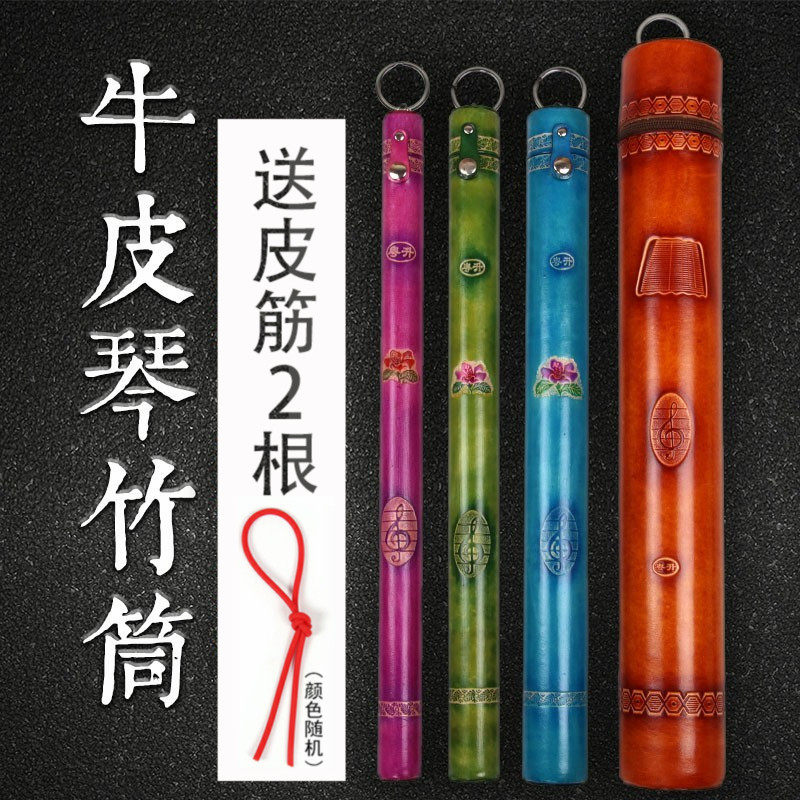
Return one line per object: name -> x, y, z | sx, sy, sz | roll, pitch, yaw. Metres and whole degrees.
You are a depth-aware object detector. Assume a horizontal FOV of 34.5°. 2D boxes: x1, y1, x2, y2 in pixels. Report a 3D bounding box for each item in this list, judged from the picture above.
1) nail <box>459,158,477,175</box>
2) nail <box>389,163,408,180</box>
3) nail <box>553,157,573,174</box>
nail -> 0.094, -0.327, 1.816 | 0.026, 0.017, 0.022 | -7, 86, 5
nail -> -0.002, -0.325, 1.829 | 0.030, 0.007, 0.025 | 2, 90, 3
nail -> 0.226, -0.329, 1.803 | 0.030, 0.015, 0.025 | 2, 91, 2
